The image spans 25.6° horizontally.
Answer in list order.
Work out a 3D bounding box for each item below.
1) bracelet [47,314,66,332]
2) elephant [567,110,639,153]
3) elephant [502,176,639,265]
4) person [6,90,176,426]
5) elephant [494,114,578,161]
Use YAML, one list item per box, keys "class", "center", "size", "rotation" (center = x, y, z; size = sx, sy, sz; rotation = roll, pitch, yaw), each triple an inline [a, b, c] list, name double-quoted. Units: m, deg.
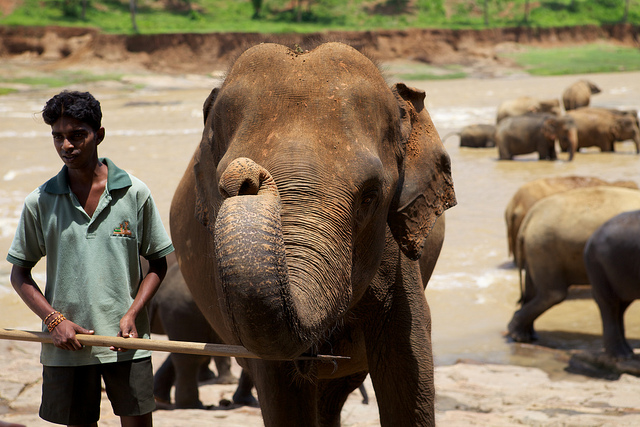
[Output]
- class: "bracelet"
  center: [-2.810, 1.157, 14.973]
  size: [0.173, 0.053, 0.173]
  rotation: [-42, -8, 16]
- class: "elephant"
  center: [4.767, -1.364, 23.334]
  size: [0.656, 0.753, 1.715]
  rotation: [-7, 8, -33]
- class: "elephant"
  center: [3.609, -0.057, 19.661]
  size: [1.994, 1.080, 0.865]
  rotation: [-5, 7, -4]
- class: "person"
  center: [-2.490, 0.514, 15.112]
  size: [1.650, 3.660, 0.602]
  rotation: [-3, 8, -6]
- class: "elephant"
  center: [3.849, -1.309, 25.329]
  size: [1.483, 0.824, 0.686]
  rotation: [-3, 9, 12]
